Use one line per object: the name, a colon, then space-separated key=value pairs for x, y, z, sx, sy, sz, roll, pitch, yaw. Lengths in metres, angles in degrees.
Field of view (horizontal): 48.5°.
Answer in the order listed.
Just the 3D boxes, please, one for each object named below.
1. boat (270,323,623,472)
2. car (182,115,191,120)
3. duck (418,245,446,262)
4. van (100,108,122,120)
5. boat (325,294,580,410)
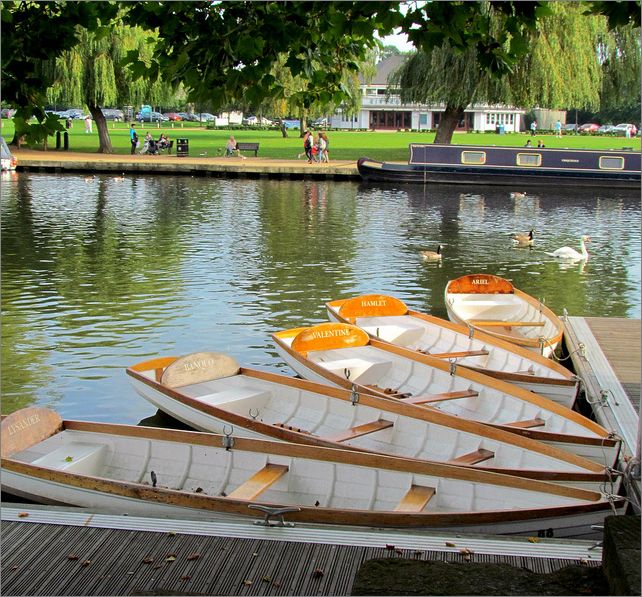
boat: x=1.525 y=1.264 z=10.761 sx=5.886 sy=0.887 sz=1.578 roll=16 pitch=24 yaw=31
car: x=-27.181 y=-36.597 z=142.914 sx=1.513 sy=1.243 sz=2.701 roll=-4 pitch=10 yaw=-9
duck: x=3.547 y=-1.419 z=22.042 sx=1.096 sy=0.644 sz=0.334 roll=2 pitch=29 yaw=12
van: x=-39.613 y=-35.155 z=135.467 sx=2.944 sy=2.363 sz=5.758 roll=-5 pitch=10 yaw=-17
boat: x=2.305 y=1.071 z=12.620 sx=1.583 sy=0.826 sz=5.121 roll=-19 pitch=25 yaw=-38
